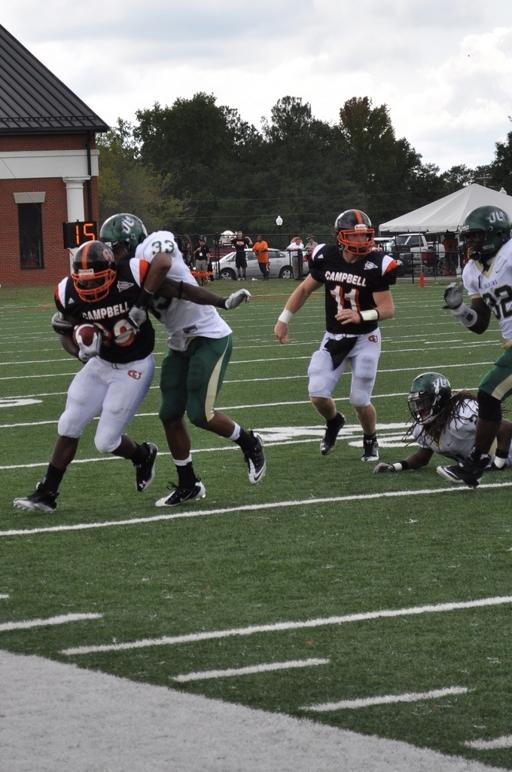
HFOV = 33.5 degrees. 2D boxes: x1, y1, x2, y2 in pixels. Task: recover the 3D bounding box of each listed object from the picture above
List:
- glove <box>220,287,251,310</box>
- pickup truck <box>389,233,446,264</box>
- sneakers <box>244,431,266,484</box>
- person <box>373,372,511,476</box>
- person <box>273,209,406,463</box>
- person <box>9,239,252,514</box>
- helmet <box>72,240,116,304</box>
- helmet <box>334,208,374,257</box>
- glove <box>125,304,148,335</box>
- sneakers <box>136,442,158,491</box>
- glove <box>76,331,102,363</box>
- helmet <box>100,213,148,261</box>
[{"bbox_3d":[-0.109,-0.474,4.459,0.113,0.056,0.152,-24,-9,-40],"label":"glove"},{"bbox_3d":[6.433,-5.547,34.140,2.530,1.136,1.436,4,10,1],"label":"pickup truck"},{"bbox_3d":[-0.036,0.438,5.147,0.117,0.313,0.144,-9,-13,35],"label":"sneakers"},{"bbox_3d":[1.454,0.249,5.722,1.150,0.456,0.491,0,-14,-32],"label":"person"},{"bbox_3d":[0.559,-0.353,5.921,0.831,1.765,0.652,-1,5,19],"label":"person"},{"bbox_3d":[-0.835,-0.038,4.742,1.098,1.539,0.709,2,7,42],"label":"person"},{"bbox_3d":[-0.878,-0.608,4.505,0.253,0.329,0.232,-2,5,0],"label":"helmet"},{"bbox_3d":[0.694,-1.076,5.965,0.269,0.337,0.358,-2,5,6],"label":"helmet"},{"bbox_3d":[-0.633,-0.357,4.539,0.104,0.117,0.130,2,1,1],"label":"glove"},{"bbox_3d":[-0.686,0.475,5.149,0.115,0.302,0.136,15,11,26],"label":"sneakers"},{"bbox_3d":[-0.883,-0.208,4.557,0.135,0.130,0.160,4,-24,0],"label":"glove"},{"bbox_3d":[-0.764,-0.881,4.949,0.323,0.254,0.224,1,6,-7],"label":"helmet"}]
